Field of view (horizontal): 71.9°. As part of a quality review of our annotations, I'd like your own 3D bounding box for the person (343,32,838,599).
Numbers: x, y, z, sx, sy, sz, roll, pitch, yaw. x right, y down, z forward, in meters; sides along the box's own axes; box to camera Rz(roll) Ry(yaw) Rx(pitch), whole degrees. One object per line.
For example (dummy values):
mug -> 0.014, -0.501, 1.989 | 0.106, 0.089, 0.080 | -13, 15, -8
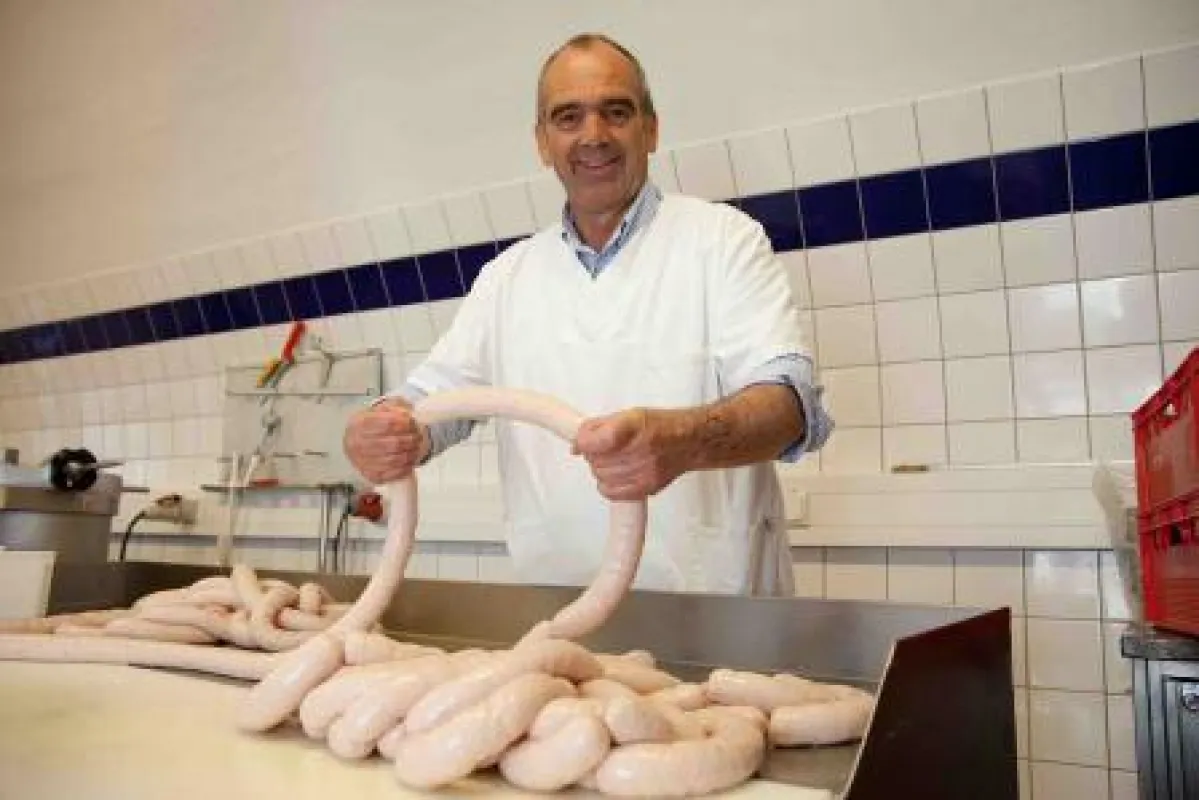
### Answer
person -> 0.030, -0.254, 2.265 | 1.161, 1.590, 0.911 | -1, -6, 18
